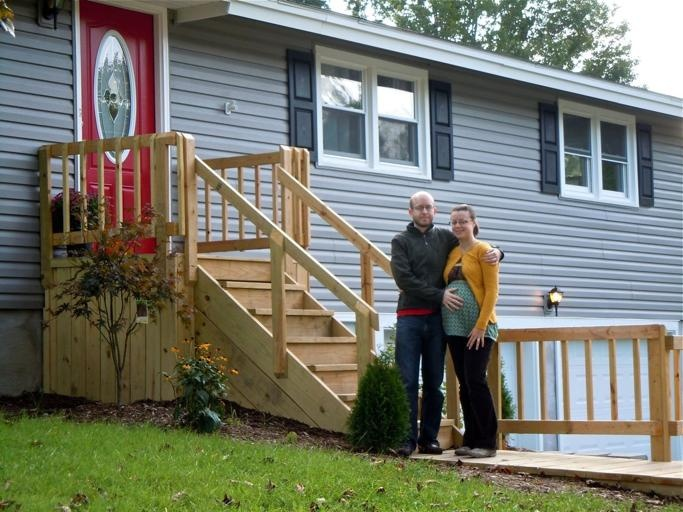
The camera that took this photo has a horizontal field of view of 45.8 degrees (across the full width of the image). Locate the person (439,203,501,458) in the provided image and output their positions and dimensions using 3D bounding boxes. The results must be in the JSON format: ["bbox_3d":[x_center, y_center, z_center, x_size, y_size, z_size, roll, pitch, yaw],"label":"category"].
[{"bbox_3d":[1.211,0.707,7.612,0.519,2.301,0.445,1,-4,10],"label":"person"}]

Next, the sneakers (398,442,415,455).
[{"bbox_3d":[0.605,1.768,7.468,0.070,0.095,0.209,-3,-10,23],"label":"sneakers"}]

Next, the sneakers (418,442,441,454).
[{"bbox_3d":[0.839,1.815,7.748,0.089,0.112,0.244,3,-10,-36],"label":"sneakers"}]

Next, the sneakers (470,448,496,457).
[{"bbox_3d":[1.321,1.821,7.587,0.235,0.125,0.090,10,-10,-26],"label":"sneakers"}]

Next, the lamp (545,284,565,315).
[{"bbox_3d":[3.592,0.754,13.444,0.444,0.486,0.267,5,-5,-38],"label":"lamp"}]

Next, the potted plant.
[{"bbox_3d":[-2.992,-0.232,9.334,0.672,0.929,0.858,1,-4,-25],"label":"potted plant"}]
